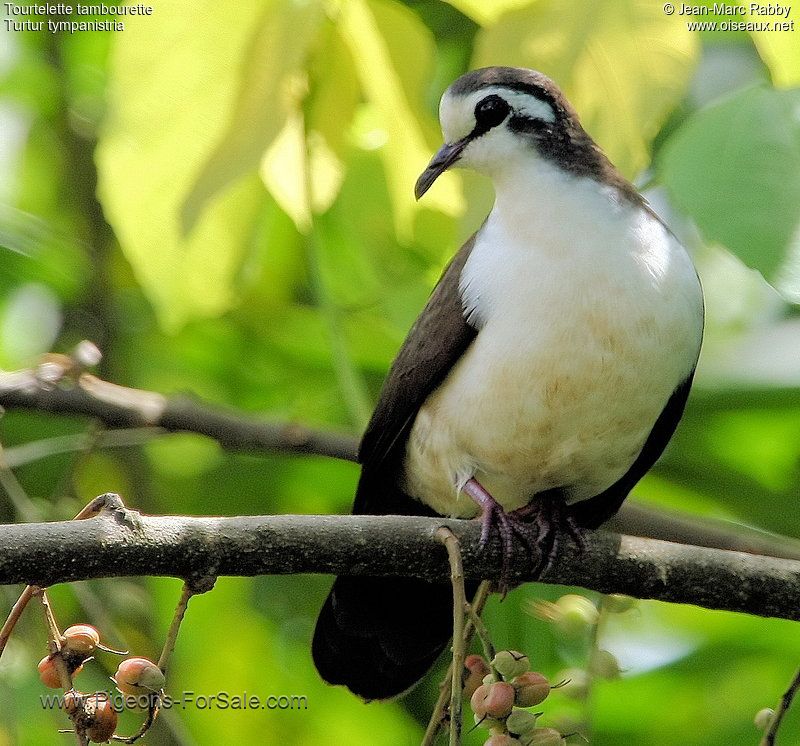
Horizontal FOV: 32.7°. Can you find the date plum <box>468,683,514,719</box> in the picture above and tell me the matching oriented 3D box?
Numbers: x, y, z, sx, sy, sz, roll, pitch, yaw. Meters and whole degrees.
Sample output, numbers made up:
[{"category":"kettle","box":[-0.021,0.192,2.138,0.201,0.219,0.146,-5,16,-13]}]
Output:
[{"category":"date plum","box":[0.168,0.613,2.532,0.062,0.041,0.078,-7,25,12]}]

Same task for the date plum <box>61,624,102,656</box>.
[{"category":"date plum","box":[-0.586,0.501,2.535,0.065,0.054,0.048,-4,63,6]}]

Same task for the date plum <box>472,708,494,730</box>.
[{"category":"date plum","box":[0.158,0.656,2.577,0.034,0.036,0.040,3,12,-2]}]

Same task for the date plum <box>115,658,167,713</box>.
[{"category":"date plum","box":[-0.474,0.572,2.562,0.083,0.082,0.100,-14,32,6]}]

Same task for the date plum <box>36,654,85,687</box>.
[{"category":"date plum","box":[-0.642,0.557,2.535,0.088,0.064,0.050,1,23,12]}]

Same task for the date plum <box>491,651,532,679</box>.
[{"category":"date plum","box":[0.208,0.561,2.600,0.076,0.049,0.048,0,10,-28]}]

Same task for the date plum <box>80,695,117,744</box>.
[{"category":"date plum","box":[-0.548,0.635,2.484,0.074,0.088,0.077,-7,-9,31]}]

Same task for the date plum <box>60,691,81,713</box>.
[{"category":"date plum","box":[-0.592,0.597,2.452,0.033,0.041,0.034,5,26,9]}]

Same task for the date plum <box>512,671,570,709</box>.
[{"category":"date plum","box":[0.272,0.614,2.622,0.120,0.054,0.060,-8,70,-5]}]
